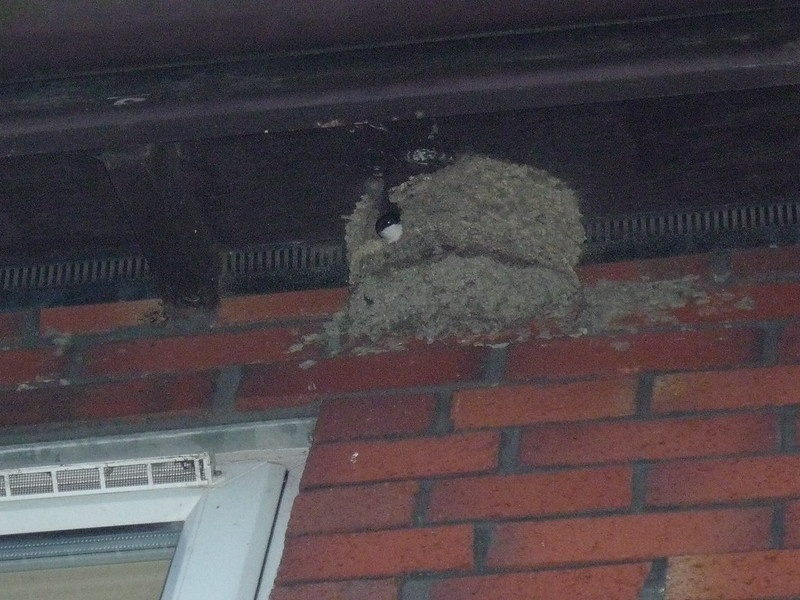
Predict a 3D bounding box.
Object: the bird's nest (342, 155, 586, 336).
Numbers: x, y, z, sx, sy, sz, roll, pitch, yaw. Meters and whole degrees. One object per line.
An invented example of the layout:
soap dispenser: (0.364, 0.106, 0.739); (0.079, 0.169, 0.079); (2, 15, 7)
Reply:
bird's nest: (0.182, -0.050, 5.467); (0.715, 0.151, 0.473); (-4, -17, 11)
